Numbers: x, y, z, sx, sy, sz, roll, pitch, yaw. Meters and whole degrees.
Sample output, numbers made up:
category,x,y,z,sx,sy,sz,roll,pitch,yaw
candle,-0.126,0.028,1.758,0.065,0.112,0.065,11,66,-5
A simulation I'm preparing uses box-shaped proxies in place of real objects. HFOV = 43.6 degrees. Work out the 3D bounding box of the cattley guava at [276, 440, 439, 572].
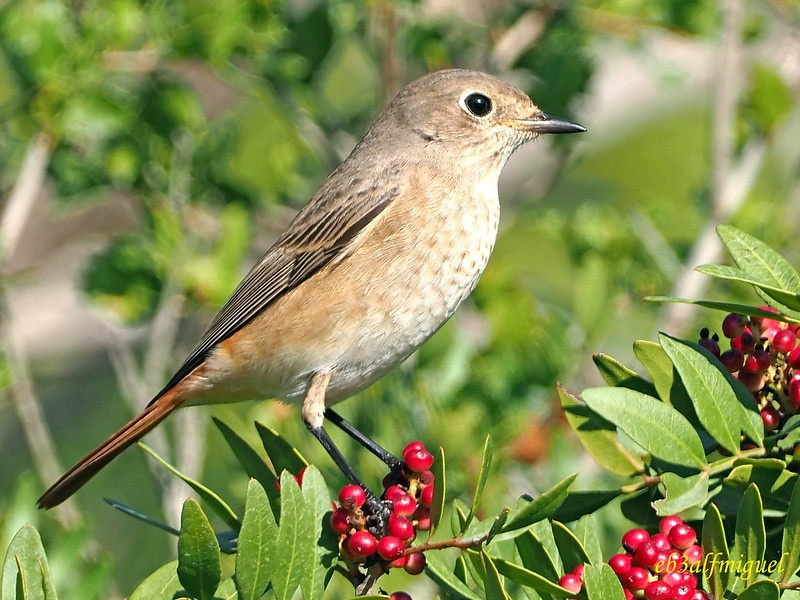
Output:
category,x,y,z,sx,sy,sz,roll,pitch,yaw
cattley guava,-0.135,0.740,3.400,0.420,0.460,0.160,-11,36,37
